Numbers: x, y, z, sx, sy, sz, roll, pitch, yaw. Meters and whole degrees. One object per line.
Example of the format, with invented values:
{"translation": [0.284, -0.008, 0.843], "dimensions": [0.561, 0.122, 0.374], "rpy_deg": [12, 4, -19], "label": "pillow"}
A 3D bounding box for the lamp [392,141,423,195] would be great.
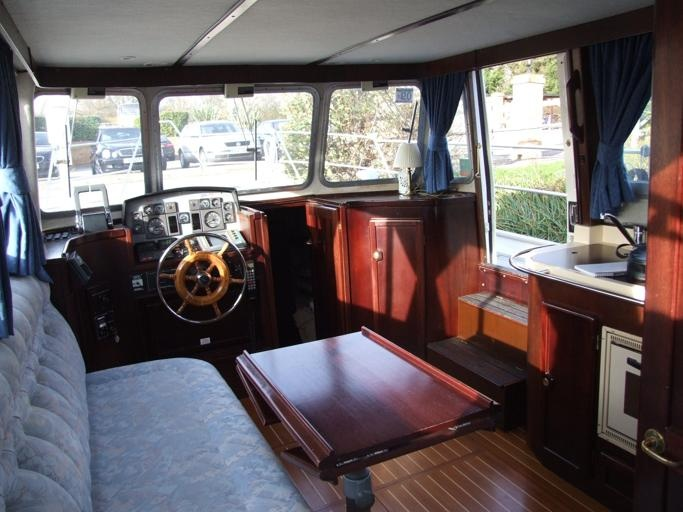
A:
{"translation": [0.657, -0.861, 4.786], "dimensions": [0.250, 0.485, 0.429], "rpy_deg": [1, 14, 9], "label": "lamp"}

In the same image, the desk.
{"translation": [0.157, 0.596, 2.199], "dimensions": [0.826, 0.436, 1.147], "rpy_deg": [-13, 24, -26], "label": "desk"}
